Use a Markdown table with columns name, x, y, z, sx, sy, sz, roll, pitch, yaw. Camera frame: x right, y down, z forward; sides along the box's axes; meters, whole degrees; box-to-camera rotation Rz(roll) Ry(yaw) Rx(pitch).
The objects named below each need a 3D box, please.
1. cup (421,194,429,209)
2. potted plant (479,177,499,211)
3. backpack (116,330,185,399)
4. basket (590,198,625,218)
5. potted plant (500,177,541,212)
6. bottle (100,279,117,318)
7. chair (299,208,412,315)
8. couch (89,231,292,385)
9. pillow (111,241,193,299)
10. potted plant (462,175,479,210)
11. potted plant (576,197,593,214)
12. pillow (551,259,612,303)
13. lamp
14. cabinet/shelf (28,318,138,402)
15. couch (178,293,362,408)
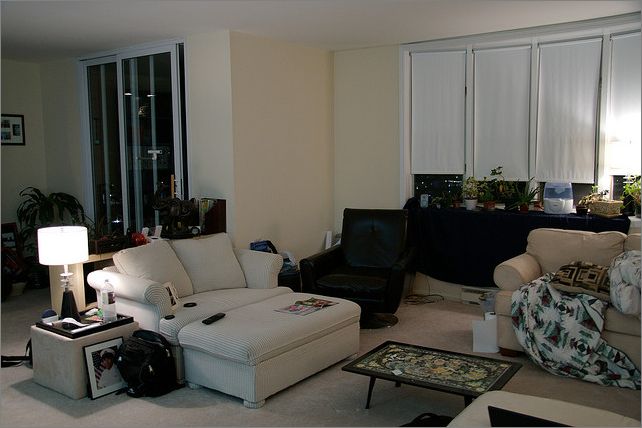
| name | x | y | z | sx | sy | sz | roll | pitch | yaw |
| --- | --- | --- | --- | --- | --- | --- | --- | --- | --- |
| cup | 1.459 | -0.180 | 6.325 | 0.115 | 0.156 | 0.135 | 2 | 13 | 11 |
| potted plant | 2.230 | -0.260 | 6.012 | 0.231 | 0.388 | 0.344 | 4 | 13 | 21 |
| backpack | -1.515 | 1.345 | 3.985 | 0.570 | 0.550 | 0.315 | 1 | 2 | 21 |
| basket | 3.374 | -0.054 | 5.295 | 0.208 | 0.139 | 0.289 | -2 | 2 | -31 |
| potted plant | 2.593 | -0.252 | 5.899 | 0.417 | 0.416 | 0.402 | 8 | 15 | 34 |
| bottle | -2.012 | 0.805 | 4.249 | 0.133 | 0.315 | 0.333 | -7 | 14 | -27 |
| chair | 0.552 | 0.619 | 5.703 | 1.313 | 1.338 | 1.318 | 2 | 3 | 21 |
| couch | -1.423 | 0.667 | 4.830 | 1.344 | 1.298 | 1.943 | -3 | 0 | 40 |
| pillow | -1.716 | 0.605 | 4.645 | 0.719 | 0.529 | 0.479 | -7 | 14 | -27 |
| potted plant | 2.035 | -0.275 | 6.115 | 0.211 | 0.406 | 0.341 | 4 | 13 | 19 |
| potted plant | 3.235 | -0.083 | 5.482 | 0.157 | 0.182 | 0.195 | -2 | -6 | 41 |
| pillow | 2.485 | 0.631 | 4.267 | 0.400 | 0.158 | 0.401 | -9 | 10 | 34 |
| lamp | -2.534 | 0.535 | 4.484 | 0.434 | 0.845 | 0.881 | -8 | 14 | -29 |
| cabinet/shelf | -2.243 | 1.233 | 4.216 | 0.705 | 0.527 | 0.724 | 2 | 3 | 28 |
| couch | -0.479 | 1.275 | 4.544 | 1.067 | 0.608 | 1.662 | 0 | 2 | 36 |
